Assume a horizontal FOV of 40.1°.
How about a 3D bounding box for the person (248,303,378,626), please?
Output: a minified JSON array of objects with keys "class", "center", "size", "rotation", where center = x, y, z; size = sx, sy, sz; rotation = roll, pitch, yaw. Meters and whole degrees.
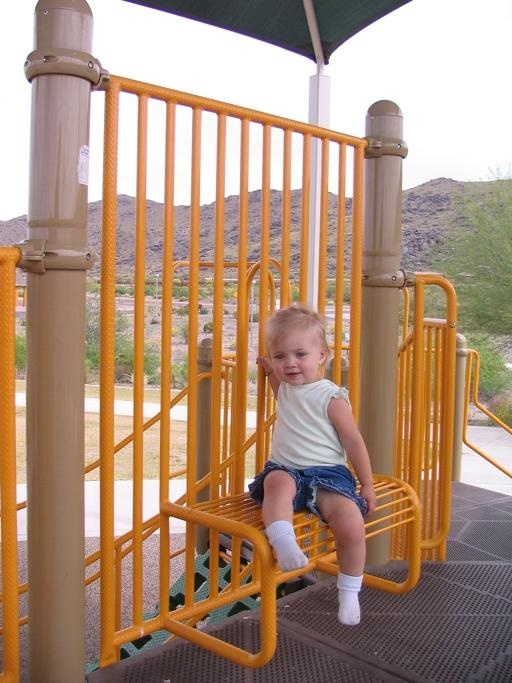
[{"class":"person","center":[0.109,0.256,1.723],"size":[0.315,0.652,0.809],"rotation":[0,2,-8]}]
